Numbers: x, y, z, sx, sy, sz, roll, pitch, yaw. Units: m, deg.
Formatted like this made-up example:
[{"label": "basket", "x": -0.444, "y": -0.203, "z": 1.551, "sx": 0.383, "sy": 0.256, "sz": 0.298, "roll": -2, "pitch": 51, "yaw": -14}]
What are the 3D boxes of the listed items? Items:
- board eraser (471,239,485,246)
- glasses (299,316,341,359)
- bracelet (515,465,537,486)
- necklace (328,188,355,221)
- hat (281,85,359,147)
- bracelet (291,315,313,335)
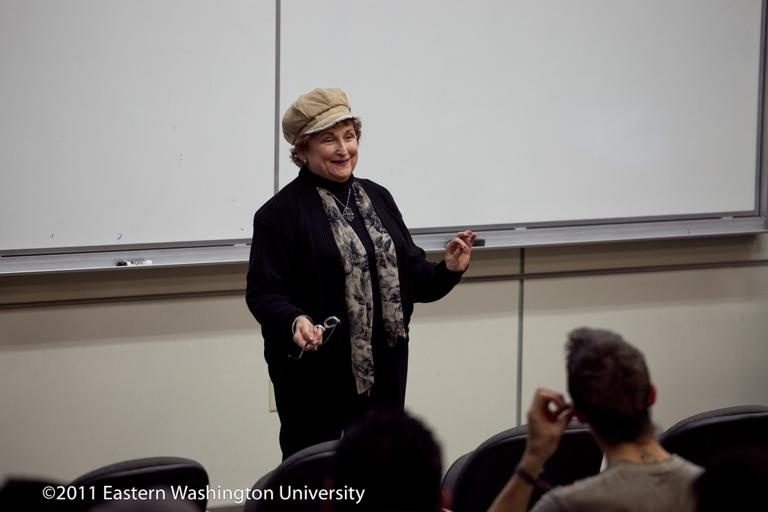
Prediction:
[{"label": "board eraser", "x": 0.509, "y": -0.076, "z": 3.157, "sx": 0.050, "sy": 0.037, "sz": 0.073, "roll": -1, "pitch": 6, "yaw": -4}, {"label": "glasses", "x": -0.240, "y": 0.297, "z": 2.128, "sx": 0.043, "sy": 0.162, "sz": 0.165, "roll": 32, "pitch": 20, "yaw": 6}, {"label": "bracelet", "x": 0.372, "y": 0.577, "z": 1.582, "sx": 0.055, "sy": 0.015, "sz": 0.040, "roll": 37, "pitch": 28, "yaw": 23}, {"label": "necklace", "x": -0.162, "y": -0.188, "z": 2.200, "sx": 0.109, "sy": 0.140, "sz": 0.014, "roll": -8, "pitch": -19, "yaw": -43}, {"label": "hat", "x": -0.240, "y": -0.526, "z": 2.206, "sx": 0.266, "sy": 0.139, "sz": 0.356, "roll": -29, "pitch": 9, "yaw": -29}, {"label": "bracelet", "x": -0.275, "y": 0.236, "z": 2.002, "sx": 0.055, "sy": 0.065, "sz": 0.047, "roll": -7, "pitch": -25, "yaw": 28}]
